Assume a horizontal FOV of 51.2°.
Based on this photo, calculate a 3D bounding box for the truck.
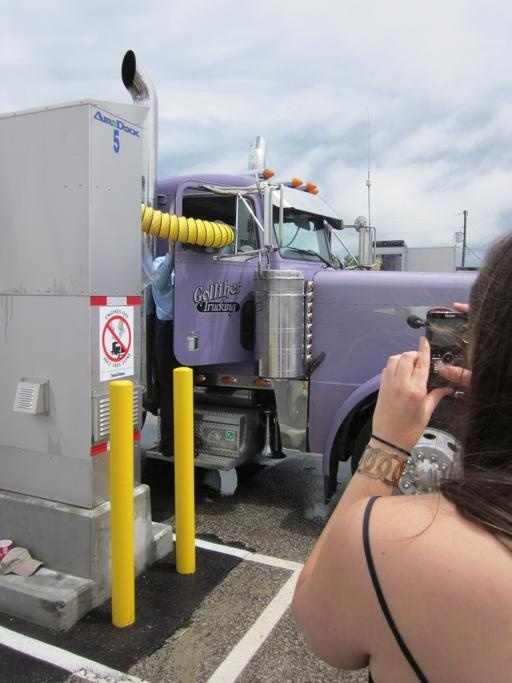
[{"bbox_3d":[0.466,-0.275,5.001,4.401,2.566,1.982,-2,5,23],"label":"truck"}]

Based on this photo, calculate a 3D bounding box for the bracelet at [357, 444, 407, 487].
[{"bbox_3d":[0.215,0.210,0.896,0.031,0.063,0.083,-32,8,-35],"label":"bracelet"}]
